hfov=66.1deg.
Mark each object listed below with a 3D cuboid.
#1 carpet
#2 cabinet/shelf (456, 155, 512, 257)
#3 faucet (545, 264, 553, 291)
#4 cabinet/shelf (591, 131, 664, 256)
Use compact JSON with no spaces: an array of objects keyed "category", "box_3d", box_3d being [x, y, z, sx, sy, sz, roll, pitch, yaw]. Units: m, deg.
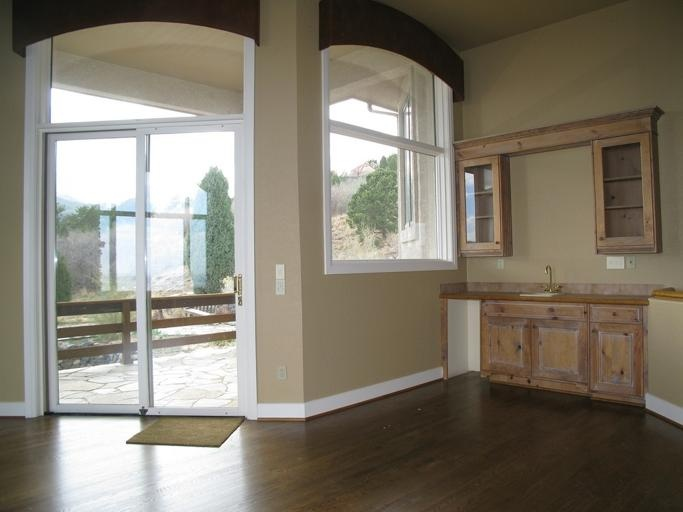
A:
[{"category":"carpet","box_3d":[-1.439,1.634,4.948,0.940,0.098,0.617,-2,1,5]},{"category":"cabinet/shelf","box_3d":[1.737,-0.627,6.607,0.540,1.261,0.341,-1,15,23]},{"category":"faucet","box_3d":[2.458,0.249,6.214,0.085,0.223,0.189,-2,1,20]},{"category":"cabinet/shelf","box_3d":[3.103,-0.713,5.789,0.607,1.369,0.298,2,29,37]}]
